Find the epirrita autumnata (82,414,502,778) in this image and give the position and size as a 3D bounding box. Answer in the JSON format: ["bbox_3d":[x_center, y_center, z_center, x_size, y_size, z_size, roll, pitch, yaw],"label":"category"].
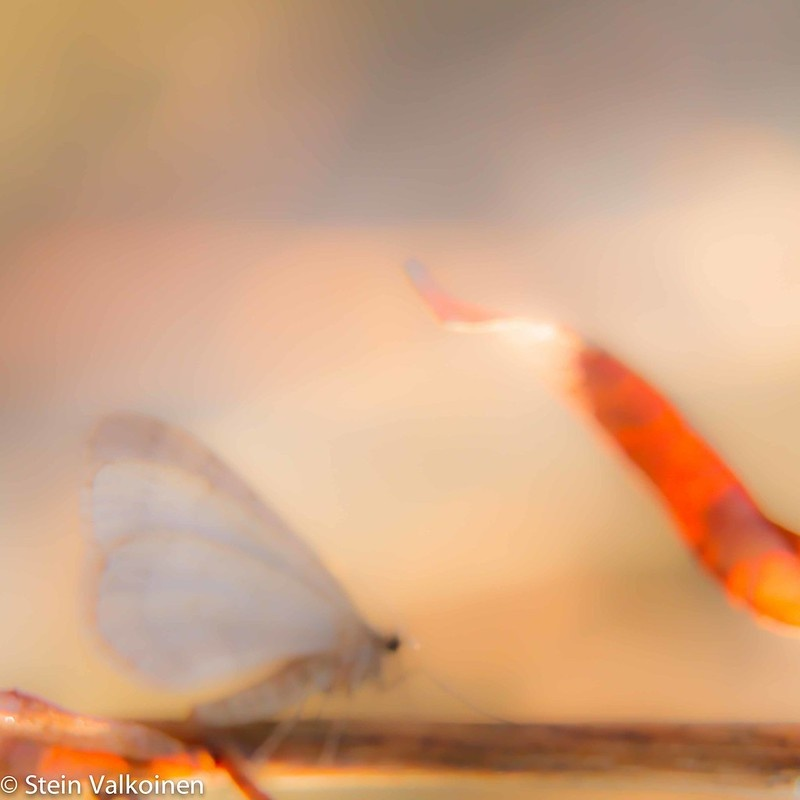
[{"bbox_3d":[-0.260,0.243,1.420,0.467,0.357,0.214,26,-48,-22],"label":"epirrita autumnata"}]
